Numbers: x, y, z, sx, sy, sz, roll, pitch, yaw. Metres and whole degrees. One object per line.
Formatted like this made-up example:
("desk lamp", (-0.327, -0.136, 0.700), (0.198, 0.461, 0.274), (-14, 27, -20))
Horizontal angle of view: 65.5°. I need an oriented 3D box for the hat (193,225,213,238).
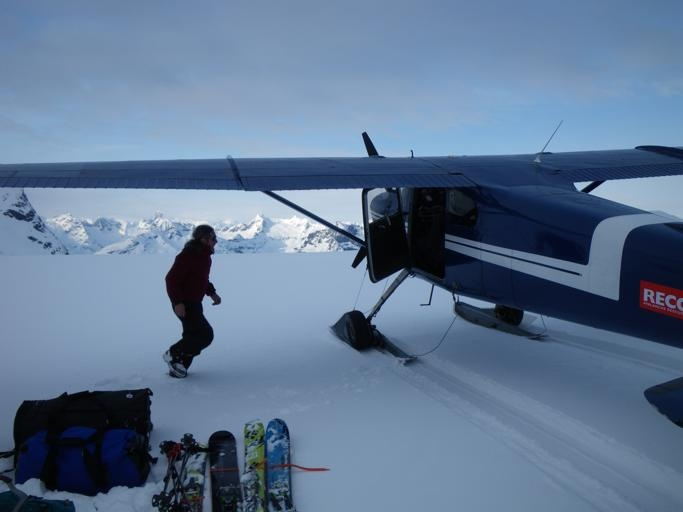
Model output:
("hat", (-1.897, -0.322, 7.290), (0.248, 0.191, 0.172), (-27, 9, -14))
